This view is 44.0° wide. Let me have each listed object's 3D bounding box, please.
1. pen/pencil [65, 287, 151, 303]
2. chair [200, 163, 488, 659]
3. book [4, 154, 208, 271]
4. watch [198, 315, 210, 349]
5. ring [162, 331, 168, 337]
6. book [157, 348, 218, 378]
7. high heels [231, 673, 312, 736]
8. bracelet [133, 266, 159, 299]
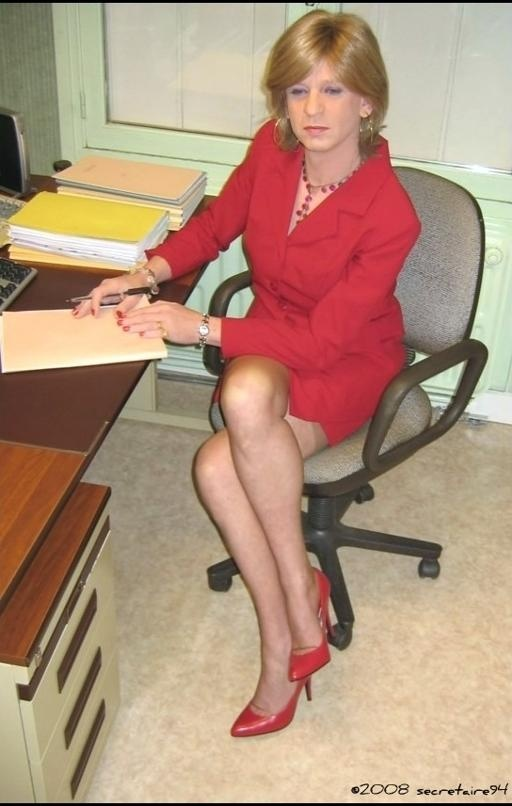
[{"bbox_3d":[-0.279,-0.202,1.177,0.138,0.023,0.019,-12,27,-43],"label":"pen/pencil"},{"bbox_3d":[0.152,0.001,1.521,0.625,0.981,0.595,-22,35,-30],"label":"chair"},{"bbox_3d":[-0.326,-0.434,1.475,0.289,0.094,0.393,11,37,14],"label":"book"},{"bbox_3d":[-0.098,-0.137,1.190,0.026,0.047,0.044,1,4,-2],"label":"watch"},{"bbox_3d":[-0.165,-0.125,1.138,0.009,0.010,0.007,2,-2,36],"label":"ring"},{"bbox_3d":[-0.278,-0.156,2.433,0.199,0.045,0.189,-5,11,-31],"label":"book"},{"bbox_3d":[0.017,0.611,1.281,0.175,0.074,0.085,-17,22,-19],"label":"high heels"},{"bbox_3d":[-0.220,-0.247,1.281,0.052,0.068,0.033,-7,0,8],"label":"bracelet"}]
